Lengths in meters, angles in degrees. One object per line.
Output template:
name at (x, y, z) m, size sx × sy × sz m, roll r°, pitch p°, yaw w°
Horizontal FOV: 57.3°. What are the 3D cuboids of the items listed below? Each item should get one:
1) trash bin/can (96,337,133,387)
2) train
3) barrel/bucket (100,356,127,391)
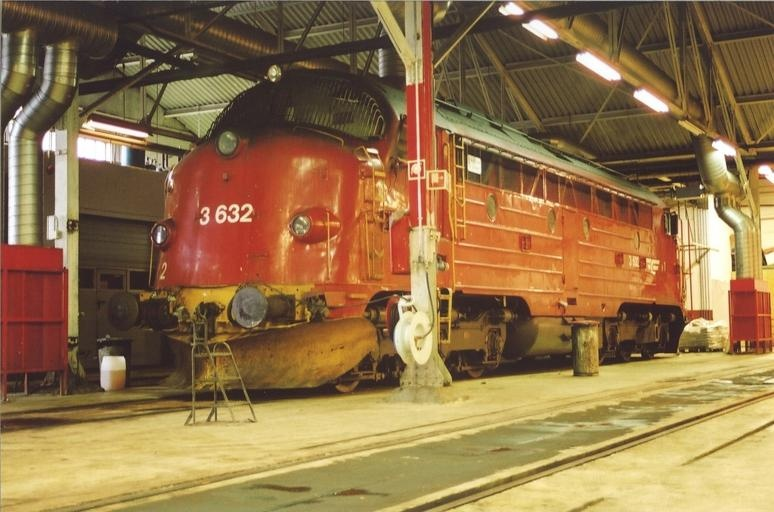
trash bin/can at (-6.137, 2.441, 15.891) m, size 0.800 × 1.129 × 0.817 m, roll -13°, pitch -15°, yaw 34°
train at (2.200, 0.065, 18.351) m, size 5.225 × 6.138 × 16.550 m, roll -5°, pitch -7°, yaw 43°
barrel/bucket at (-5.960, 2.533, 15.434) m, size 0.485 × 0.736 × 0.478 m, roll -1°, pitch -2°, yaw 0°
